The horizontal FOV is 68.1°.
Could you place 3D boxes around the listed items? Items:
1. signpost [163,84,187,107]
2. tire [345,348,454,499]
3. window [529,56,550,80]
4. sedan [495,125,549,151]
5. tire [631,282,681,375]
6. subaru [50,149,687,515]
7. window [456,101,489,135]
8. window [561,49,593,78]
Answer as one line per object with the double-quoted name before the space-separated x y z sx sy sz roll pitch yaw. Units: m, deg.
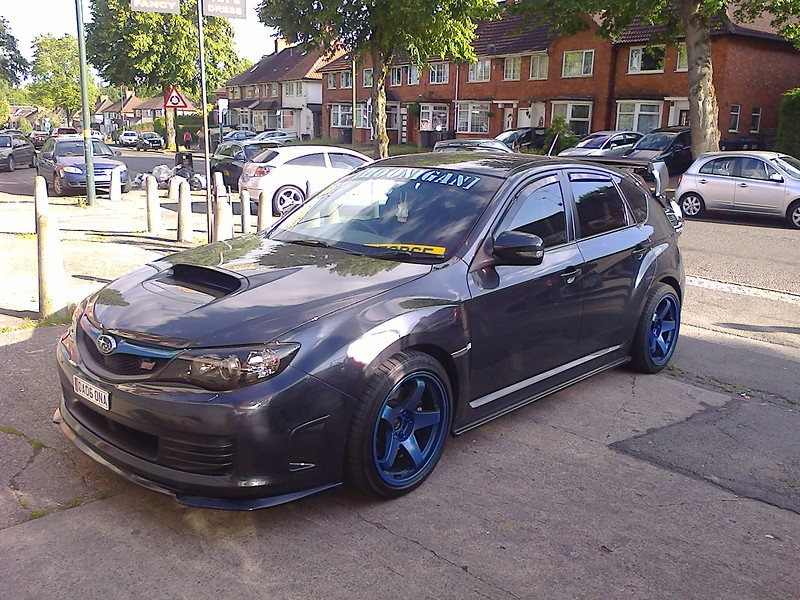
"signpost" -7.596 -6.281 18.369 0.471 0.676 1.196 -6 15 -28
"tire" 0.002 0.740 3.533 0.164 0.892 0.867 14 19 42
"window" 10.233 -15.948 40.594 0.168 1.732 2.041 -3 11 -36
"sedan" 7.402 -9.049 33.914 3.674 1.409 1.868 -7 21 -25
"tire" 2.520 0.241 5.477 0.284 0.727 0.810 8 18 43
"subaru" 0.231 0.037 4.423 4.742 1.406 2.332 -10 18 -36
"window" 5.973 -14.065 45.601 3.246 2.081 0.352 17 23 40
"window" 12.312 -15.314 38.257 0.184 1.519 2.380 -9 19 -44
